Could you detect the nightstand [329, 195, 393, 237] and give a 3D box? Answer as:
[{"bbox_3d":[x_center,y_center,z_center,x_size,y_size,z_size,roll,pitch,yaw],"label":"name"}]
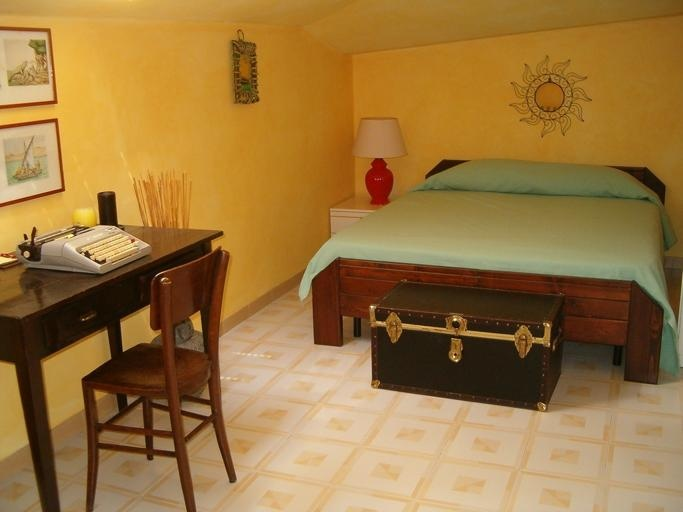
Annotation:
[{"bbox_3d":[0.111,-0.396,5.362,0.333,0.277,0.454,1,11,13],"label":"nightstand"}]
